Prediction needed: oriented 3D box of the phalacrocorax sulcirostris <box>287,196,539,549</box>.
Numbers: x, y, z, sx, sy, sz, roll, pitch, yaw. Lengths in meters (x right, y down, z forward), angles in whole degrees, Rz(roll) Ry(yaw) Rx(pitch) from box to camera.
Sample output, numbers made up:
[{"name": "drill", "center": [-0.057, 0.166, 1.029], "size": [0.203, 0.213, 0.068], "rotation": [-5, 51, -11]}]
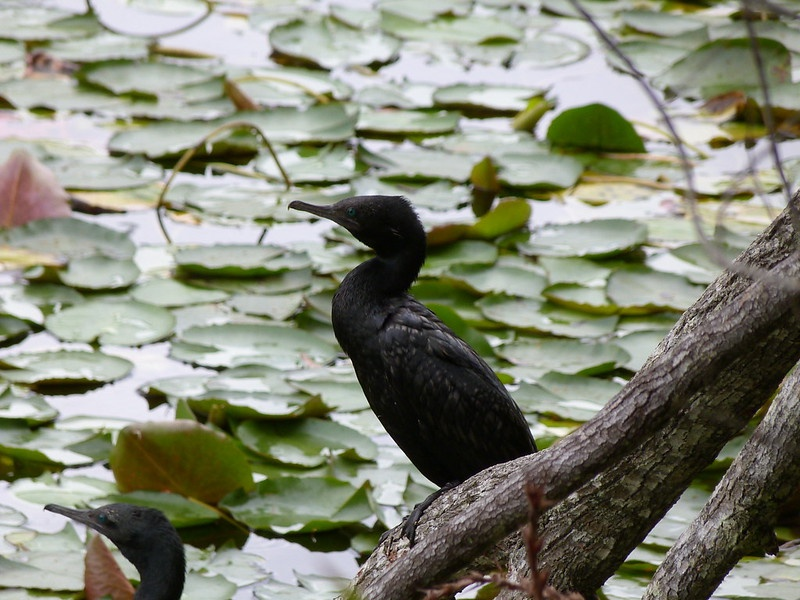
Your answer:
[{"name": "phalacrocorax sulcirostris", "center": [0.075, 0.153, 4.252], "size": [0.936, 1.059, 0.298], "rotation": [7, 2, 8]}]
